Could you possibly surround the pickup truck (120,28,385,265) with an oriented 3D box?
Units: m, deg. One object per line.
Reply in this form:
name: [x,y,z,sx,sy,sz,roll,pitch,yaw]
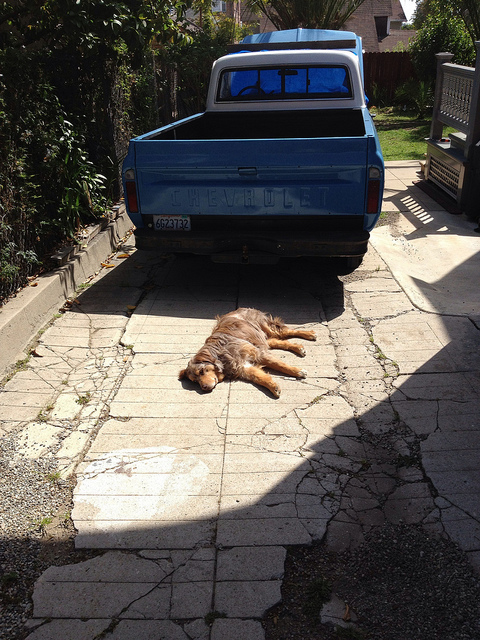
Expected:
pickup truck: [0.319,-1.926,5.836,2.441,2.399,2.844,1,25,11]
